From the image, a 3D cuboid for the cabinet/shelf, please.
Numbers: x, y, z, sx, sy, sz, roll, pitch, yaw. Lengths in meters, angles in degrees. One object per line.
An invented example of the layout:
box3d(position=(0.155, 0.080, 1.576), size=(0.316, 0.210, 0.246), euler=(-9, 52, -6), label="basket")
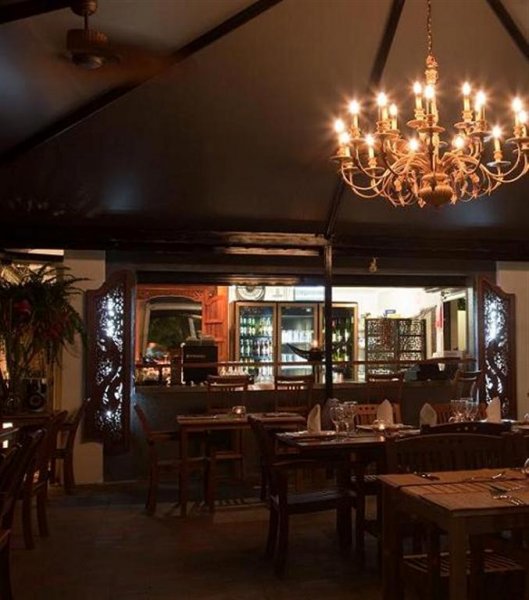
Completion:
box3d(position=(0.321, 0.604, 9.286), size=(1.159, 1.174, 0.398), euler=(1, -7, -11), label="cabinet/shelf")
